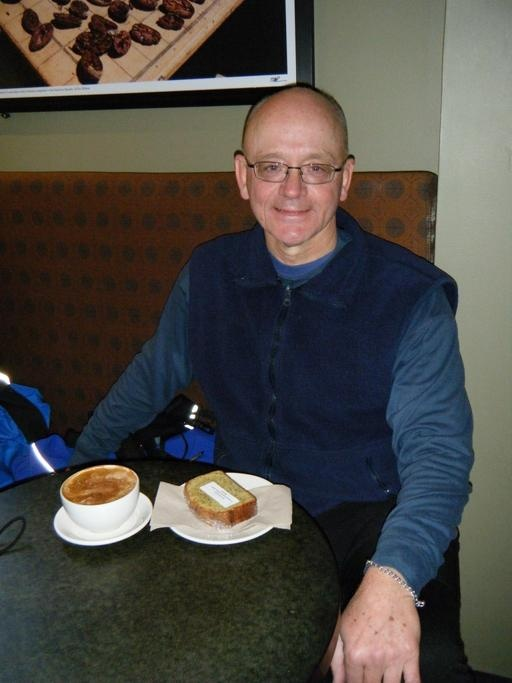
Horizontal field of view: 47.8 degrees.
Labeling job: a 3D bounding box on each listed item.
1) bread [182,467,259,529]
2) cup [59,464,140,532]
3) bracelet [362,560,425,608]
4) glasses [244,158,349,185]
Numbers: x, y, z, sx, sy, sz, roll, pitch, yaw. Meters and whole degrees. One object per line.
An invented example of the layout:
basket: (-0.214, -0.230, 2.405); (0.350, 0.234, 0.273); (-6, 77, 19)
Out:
bread: (-0.062, 0.257, 0.973); (0.066, 0.022, 0.094); (-15, 20, -27)
cup: (-0.254, 0.239, 0.933); (0.106, 0.058, 0.103); (-1, 20, 0)
bracelet: (0.227, 0.413, 0.989); (0.077, 0.026, 0.098); (22, 10, -34)
glasses: (0.090, -0.390, 1.325); (0.197, 0.055, 0.074); (3, 18, 10)
